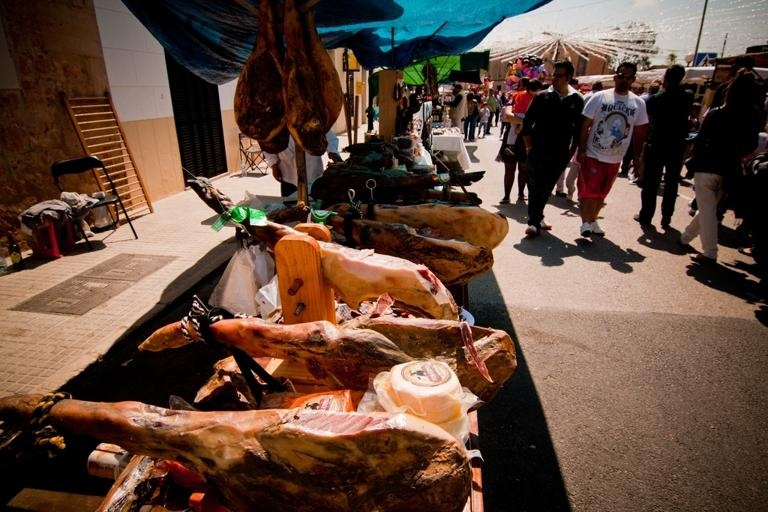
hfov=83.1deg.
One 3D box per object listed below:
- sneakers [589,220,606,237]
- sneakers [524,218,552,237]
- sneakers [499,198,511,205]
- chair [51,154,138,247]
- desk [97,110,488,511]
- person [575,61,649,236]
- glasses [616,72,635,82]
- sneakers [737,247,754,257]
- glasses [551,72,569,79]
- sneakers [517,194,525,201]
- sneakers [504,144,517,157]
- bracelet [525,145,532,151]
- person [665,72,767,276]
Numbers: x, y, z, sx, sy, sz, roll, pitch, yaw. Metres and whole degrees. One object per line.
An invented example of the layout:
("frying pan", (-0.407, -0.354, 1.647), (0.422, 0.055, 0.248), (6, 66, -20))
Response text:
("sneakers", (3.383, -0.441, 6.857), (0.161, 0.182, 0.450), (-21, 7, 6))
("sneakers", (2.527, -0.476, 6.923), (0.652, 0.253, 0.217), (-19, 26, -36))
("sneakers", (2.351, -1.074, 8.388), (0.207, 0.181, 0.107), (14, 19, 39))
("chair", (-4.304, -0.807, 6.348), (0.819, 0.980, 1.384), (-30, -9, -24))
("desk", (-0.281, 0.441, 2.425), (1.911, 0.713, 1.734), (0, 28, 2))
("person", (3.272, -1.489, 6.387), (1.018, 2.538, 0.634), (-20, 31, -37))
("glasses", (3.373, -2.502, 6.033), (0.246, 0.127, 0.199), (7, 23, 19))
("sneakers", (5.350, -0.069, 6.384), (0.094, 0.077, 0.231), (39, 16, -5))
("glasses", (2.445, -2.492, 5.982), (0.136, 0.045, 0.139), (20, 57, 44))
("sneakers", (2.708, -1.175, 8.548), (0.141, 0.138, 0.131), (3, 5, 6))
("sneakers", (2.287, -1.931, 7.875), (0.156, 0.218, 0.237), (-15, -13, 14))
("bracelet", (2.156, -1.611, 6.410), (0.074, 0.065, 0.063), (3, 16, 17))
("person", (4.453, -1.122, 5.791), (0.660, 2.459, 0.498), (13, 28, 29))
